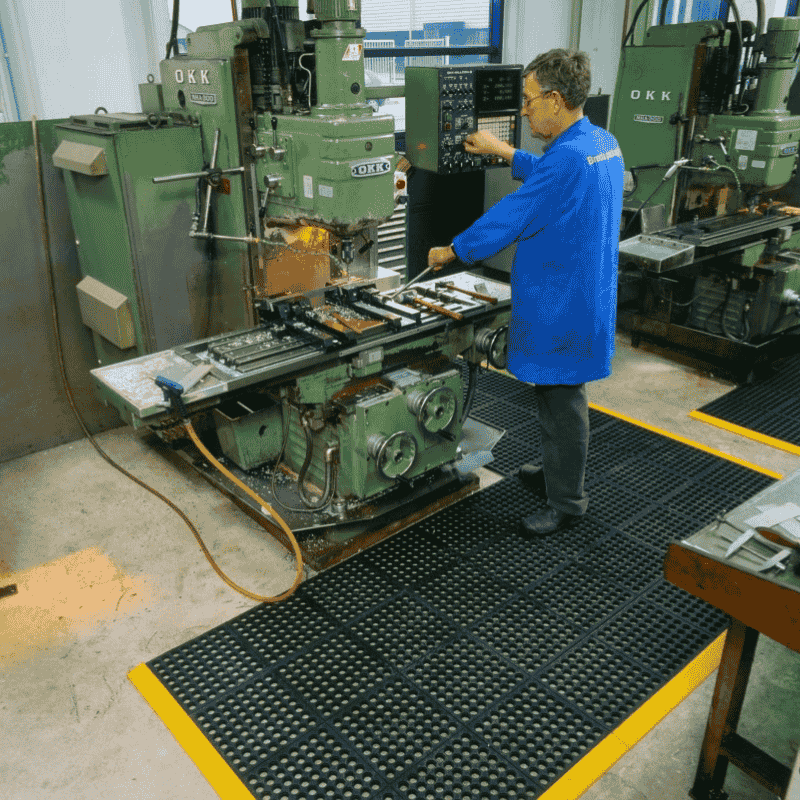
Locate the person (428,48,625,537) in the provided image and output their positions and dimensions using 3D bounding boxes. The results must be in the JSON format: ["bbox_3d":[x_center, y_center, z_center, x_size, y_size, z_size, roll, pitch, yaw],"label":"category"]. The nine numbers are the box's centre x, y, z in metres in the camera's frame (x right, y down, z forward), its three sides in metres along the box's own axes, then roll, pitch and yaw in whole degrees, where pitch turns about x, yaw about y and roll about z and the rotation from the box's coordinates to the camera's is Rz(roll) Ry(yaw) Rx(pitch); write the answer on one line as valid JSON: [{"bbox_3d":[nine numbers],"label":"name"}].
[{"bbox_3d":[0.530,-0.338,2.822,0.564,1.811,0.463,7,28,12],"label":"person"}]

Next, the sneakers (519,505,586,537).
[{"bbox_3d":[0.611,0.496,3.086,0.303,0.096,0.099,-9,28,-19],"label":"sneakers"}]
